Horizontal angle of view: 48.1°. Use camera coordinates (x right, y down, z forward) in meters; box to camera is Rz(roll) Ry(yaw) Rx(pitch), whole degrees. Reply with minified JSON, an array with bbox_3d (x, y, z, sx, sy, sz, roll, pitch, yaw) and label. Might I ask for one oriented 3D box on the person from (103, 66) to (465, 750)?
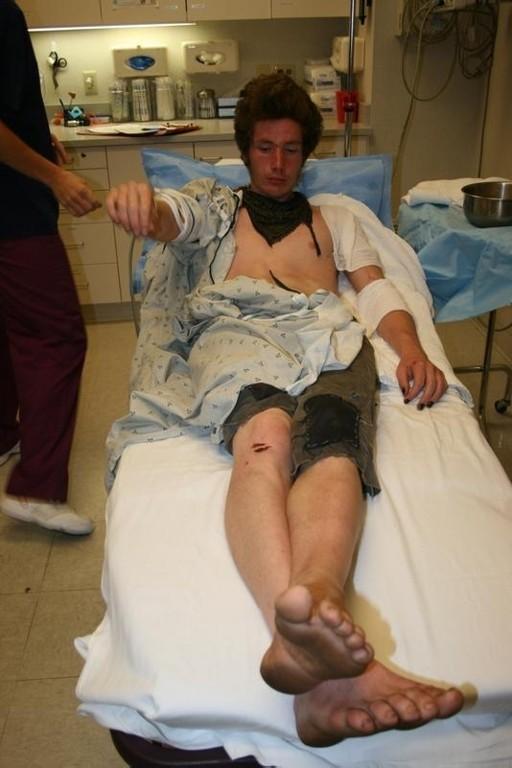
[{"bbox_3d":[0.039,-0.122,1.269,0.578,0.576,1.414,-3,41,-3],"label":"person"}]
